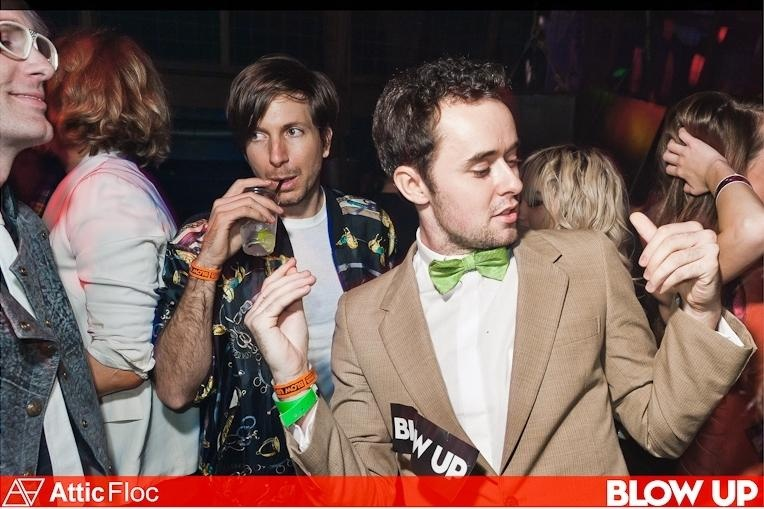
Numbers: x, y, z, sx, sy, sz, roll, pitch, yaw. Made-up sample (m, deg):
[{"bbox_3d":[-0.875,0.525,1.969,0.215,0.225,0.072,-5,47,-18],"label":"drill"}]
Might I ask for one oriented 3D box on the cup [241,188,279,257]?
[{"bbox_3d":[-0.532,-0.152,2.860,0.155,0.295,0.148,2,21,-1],"label":"cup"}]
